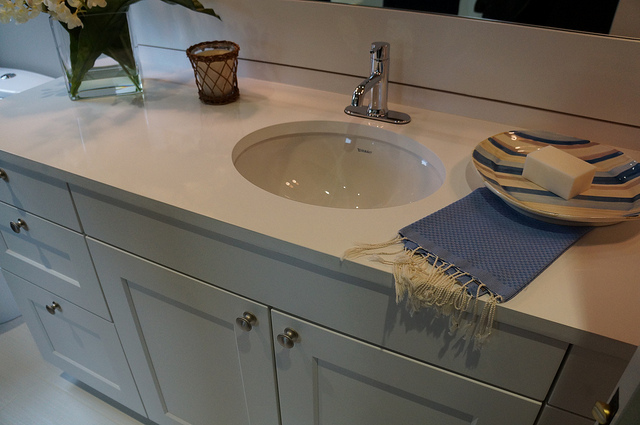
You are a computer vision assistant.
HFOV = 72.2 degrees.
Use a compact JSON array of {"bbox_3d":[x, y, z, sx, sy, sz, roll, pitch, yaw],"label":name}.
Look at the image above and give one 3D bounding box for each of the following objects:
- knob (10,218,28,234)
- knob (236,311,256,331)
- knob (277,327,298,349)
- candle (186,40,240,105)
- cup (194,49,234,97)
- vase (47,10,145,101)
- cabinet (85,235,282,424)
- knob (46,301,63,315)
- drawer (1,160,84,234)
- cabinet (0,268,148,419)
[{"bbox_3d":[-0.907,0.039,1.334,0.034,0.036,0.025,-14,8,24],"label":"knob"},{"bbox_3d":[-0.181,0.268,1.087,0.048,0.047,0.024,17,36,20],"label":"knob"},{"bbox_3d":[-0.074,0.300,1.052,0.038,0.039,0.027,44,40,4],"label":"knob"},{"bbox_3d":[-0.335,-0.446,1.402,0.165,0.149,0.162,-10,35,-15],"label":"candle"},{"bbox_3d":[-0.332,-0.432,1.405,0.129,0.135,0.120,1,17,0],"label":"cup"},{"bbox_3d":[-0.698,-0.455,1.447,0.223,0.233,0.280,-15,82,-19],"label":"vase"},{"bbox_3d":[-0.359,0.309,1.203,0.341,0.517,0.332,20,45,25],"label":"cabinet"},{"bbox_3d":[-0.869,0.315,1.445,0.027,0.054,0.038,16,60,-31],"label":"knob"},{"bbox_3d":[-0.766,-0.050,1.293,0.227,0.220,0.054,17,41,16],"label":"drawer"},{"bbox_3d":[-0.823,0.464,1.500,0.462,0.349,0.256,15,44,31],"label":"cabinet"}]
